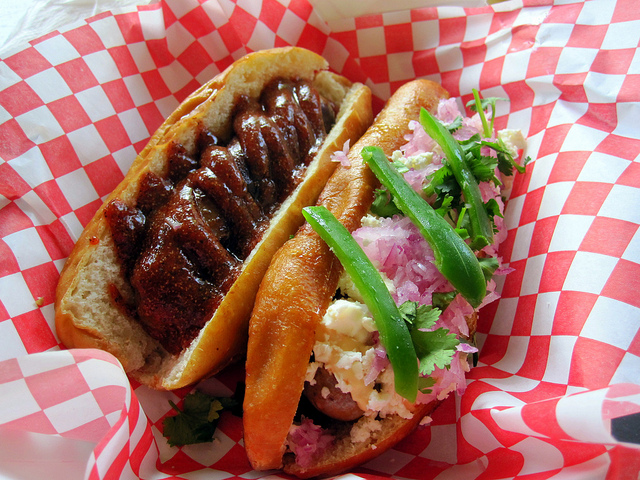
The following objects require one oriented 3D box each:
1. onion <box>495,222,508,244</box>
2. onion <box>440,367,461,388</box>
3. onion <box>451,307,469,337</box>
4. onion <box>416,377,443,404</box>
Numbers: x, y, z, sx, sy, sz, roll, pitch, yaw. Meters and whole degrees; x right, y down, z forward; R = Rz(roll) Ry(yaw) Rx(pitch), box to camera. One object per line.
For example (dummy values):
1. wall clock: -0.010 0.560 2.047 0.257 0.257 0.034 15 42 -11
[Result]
1. onion: 0.911 -0.031 2.921 0.026 0.090 0.088 18 92 37
2. onion: 0.552 0.591 2.487 0.088 0.088 0.027 -21 40 -29
3. onion: 0.612 0.370 2.594 0.063 0.105 0.116 -14 62 6
4. onion: 0.477 0.657 2.538 0.149 0.192 0.047 -34 61 -4
